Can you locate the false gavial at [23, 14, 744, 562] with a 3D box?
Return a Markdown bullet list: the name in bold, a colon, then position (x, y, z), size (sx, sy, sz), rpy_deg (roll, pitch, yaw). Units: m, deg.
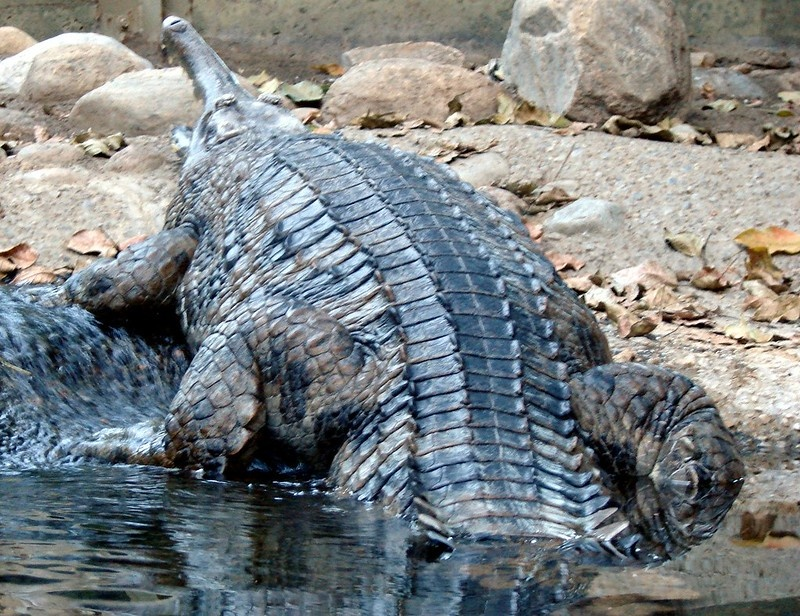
- **false gavial**: position (-0.011, -0.019, 11.498), size (3.313, 1.087, 4.562), rpy_deg (-12, 40, -31)
